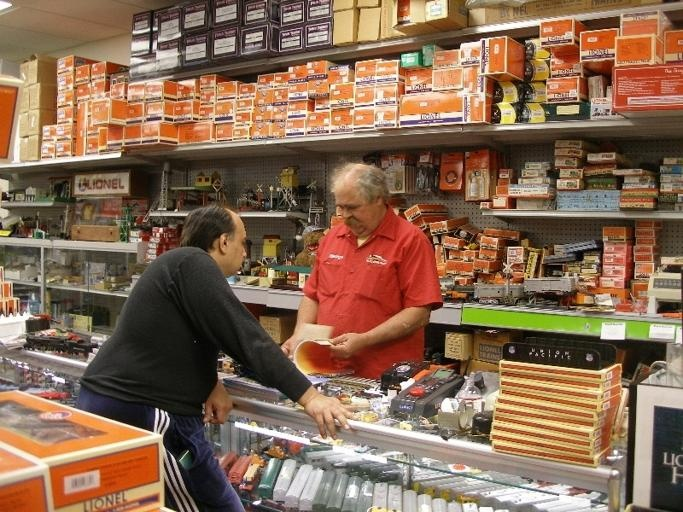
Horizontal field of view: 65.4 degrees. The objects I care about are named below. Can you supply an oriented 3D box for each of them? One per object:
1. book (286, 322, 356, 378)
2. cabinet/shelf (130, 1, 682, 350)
[{"bbox_3d":[-0.090,0.428,2.355,0.295,0.178,0.199,-7,17,-39],"label":"book"},{"bbox_3d":[0.552,-0.587,3.486,4.071,1.121,0.552,0,-13,30],"label":"cabinet/shelf"}]
